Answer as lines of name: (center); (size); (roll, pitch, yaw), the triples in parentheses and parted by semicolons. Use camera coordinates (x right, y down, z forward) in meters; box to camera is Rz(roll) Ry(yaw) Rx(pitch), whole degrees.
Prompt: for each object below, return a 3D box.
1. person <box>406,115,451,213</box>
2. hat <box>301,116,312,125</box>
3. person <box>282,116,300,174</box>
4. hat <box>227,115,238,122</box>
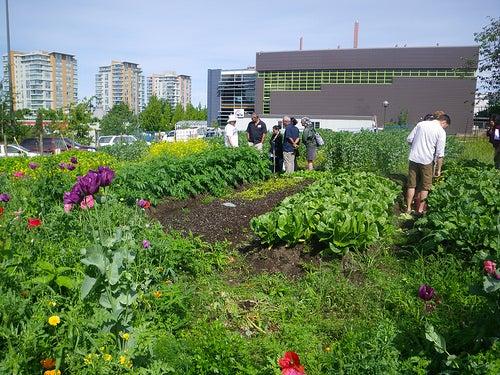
person: (3.348, -0.445, 8.451); (0.719, 1.971, 0.913); (7, 9, 24)
hat: (1.702, -1.965, 13.248); (0.228, 0.265, 1.158); (5, 11, 9)
person: (1.143, -1.194, 12.629); (0.451, 1.608, 1.527); (4, 9, 4)
hat: (-0.541, -2.070, 13.335); (0.335, 0.127, 0.376); (-4, 23, 5)
